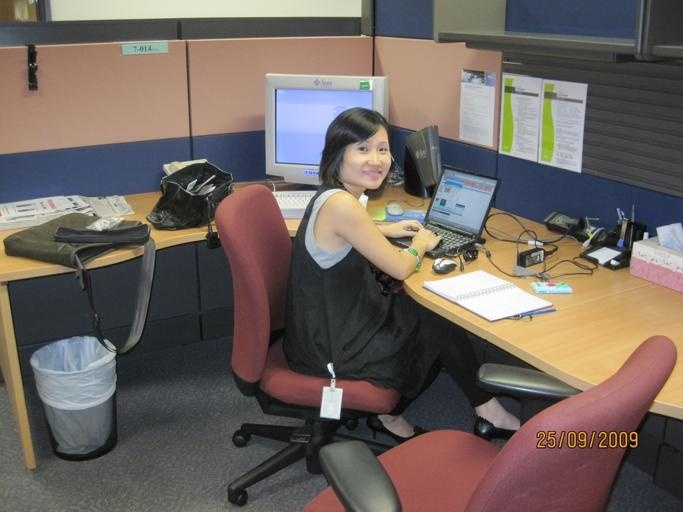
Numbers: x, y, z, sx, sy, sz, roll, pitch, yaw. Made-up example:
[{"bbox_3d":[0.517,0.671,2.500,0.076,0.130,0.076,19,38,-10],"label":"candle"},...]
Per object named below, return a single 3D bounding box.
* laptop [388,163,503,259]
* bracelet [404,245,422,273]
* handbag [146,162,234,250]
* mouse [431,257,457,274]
[{"bbox_3d":[0.417,-0.160,2.200,0.374,0.277,0.380,-22,35,-27],"label":"laptop"},{"bbox_3d":[0.260,0.011,1.982,0.063,0.083,0.030,15,16,32],"label":"bracelet"},{"bbox_3d":[-0.653,-0.208,2.567,0.323,0.188,0.429,33,50,24],"label":"handbag"},{"bbox_3d":[0.366,0.025,1.961,0.072,0.040,0.053,-10,24,-13],"label":"mouse"}]
